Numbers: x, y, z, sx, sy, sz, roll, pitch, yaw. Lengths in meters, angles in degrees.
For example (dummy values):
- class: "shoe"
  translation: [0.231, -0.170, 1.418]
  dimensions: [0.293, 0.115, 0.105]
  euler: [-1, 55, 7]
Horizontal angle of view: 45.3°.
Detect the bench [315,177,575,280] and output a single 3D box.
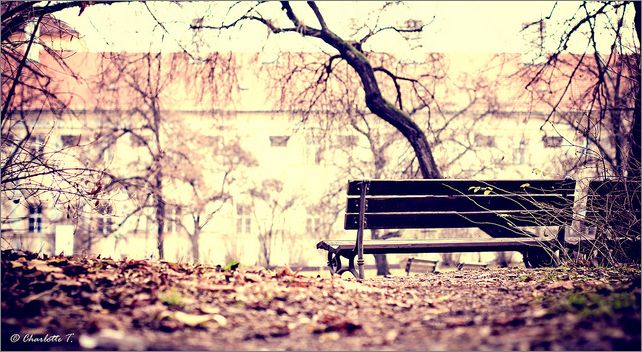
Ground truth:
- class: "bench"
  translation: [2.960, 1.387, 17.609]
  dimensions: [5.801, 2.452, 2.176]
  euler: [1, -3, -26]
